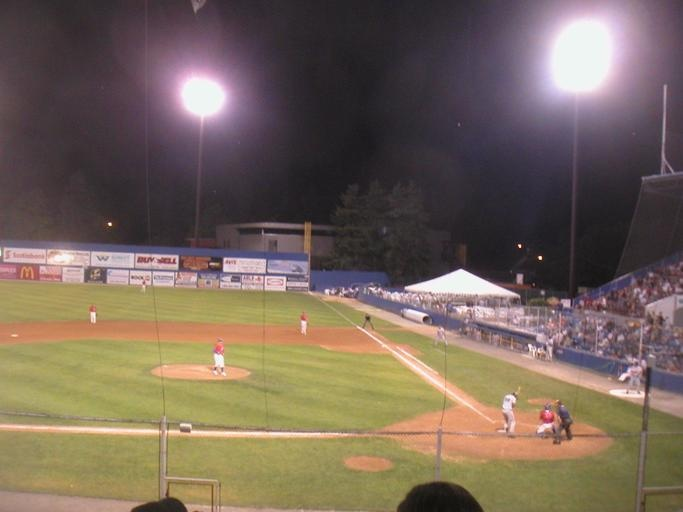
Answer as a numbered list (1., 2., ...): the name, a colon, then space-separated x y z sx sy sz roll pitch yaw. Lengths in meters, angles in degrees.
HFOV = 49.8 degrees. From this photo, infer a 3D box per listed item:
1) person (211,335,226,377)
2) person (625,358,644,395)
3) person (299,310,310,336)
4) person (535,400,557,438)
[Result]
1. person: -5.387 4.480 32.794 0.509 1.630 1.626 3 -1 -9
2. person: 12.932 5.353 32.463 0.677 1.233 1.971 3 -2 22
3. person: -2.392 4.358 47.122 0.723 1.164 2.384 2 -14 -5
4. person: 7.621 6.140 27.270 0.717 1.237 0.625 -3 4 2
